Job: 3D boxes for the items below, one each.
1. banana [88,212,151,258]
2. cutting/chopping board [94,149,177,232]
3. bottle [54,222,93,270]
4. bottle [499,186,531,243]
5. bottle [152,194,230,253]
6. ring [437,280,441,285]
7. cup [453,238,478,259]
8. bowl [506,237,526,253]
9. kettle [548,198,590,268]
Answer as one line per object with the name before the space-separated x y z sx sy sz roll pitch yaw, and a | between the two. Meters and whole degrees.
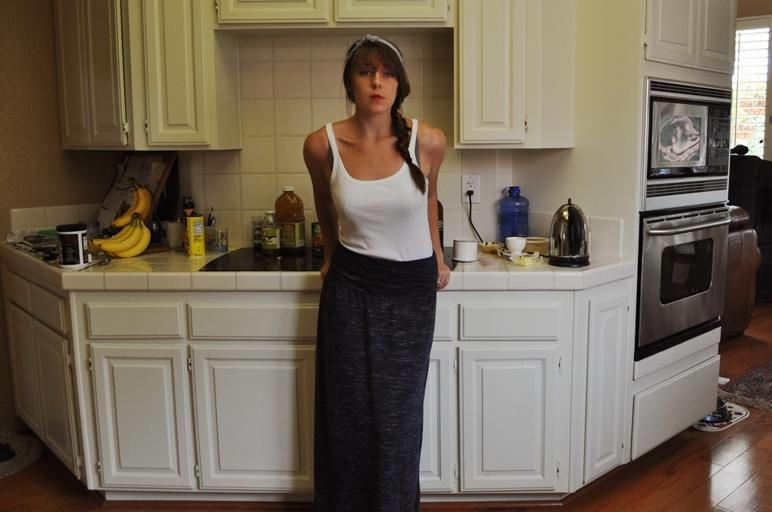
banana | -1.531 -0.137 3.718 0.126 0.139 0.362 10 13 -5
cutting/chopping board | -1.556 -0.383 4.108 0.413 0.579 0.157 21 7 23
bottle | -1.594 -0.052 3.385 0.209 0.224 0.175 -3 8 -21
bottle | 0.757 -0.252 3.909 0.164 0.328 0.156 -4 11 1
bottle | -1.175 -0.200 3.863 0.431 0.357 0.328 -6 11 -10
ring | 0.250 0.126 3.111 0.017 0.016 0.017 25 17 -8
cup | 0.435 -0.043 3.490 0.105 0.081 0.107 0 11 0
bowl | 0.709 -0.061 3.548 0.082 0.063 0.087 0 3 0
kettle | 0.946 -0.103 3.348 0.247 0.408 0.305 0 7 2
